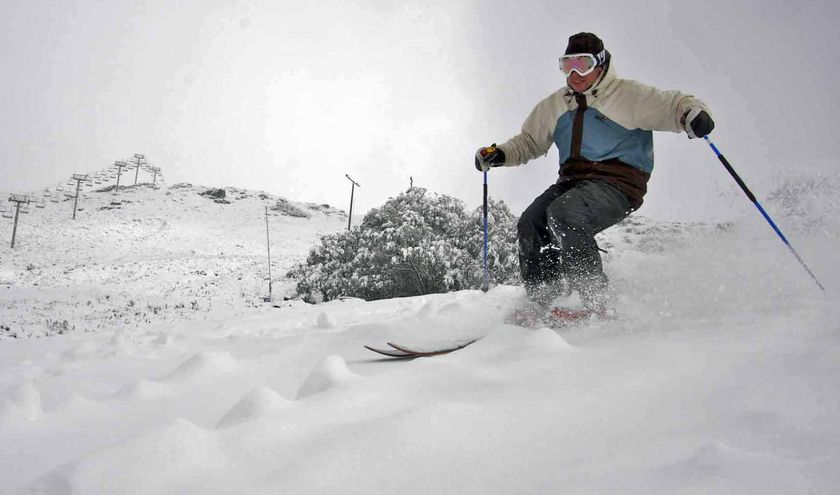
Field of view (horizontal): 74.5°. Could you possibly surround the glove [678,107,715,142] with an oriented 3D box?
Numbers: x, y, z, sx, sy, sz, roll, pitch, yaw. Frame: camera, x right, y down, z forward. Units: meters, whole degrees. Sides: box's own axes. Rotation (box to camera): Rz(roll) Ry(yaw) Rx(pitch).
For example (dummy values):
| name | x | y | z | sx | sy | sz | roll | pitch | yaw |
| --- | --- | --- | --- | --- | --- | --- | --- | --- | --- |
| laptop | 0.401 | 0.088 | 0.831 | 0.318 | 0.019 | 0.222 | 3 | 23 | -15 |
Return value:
| name | x | y | z | sx | sy | sz | roll | pitch | yaw |
| --- | --- | --- | --- | --- | --- | --- | --- | --- | --- |
| glove | 2.939 | -1.320 | 5.862 | 0.286 | 0.321 | 0.197 | -4 | 6 | 26 |
